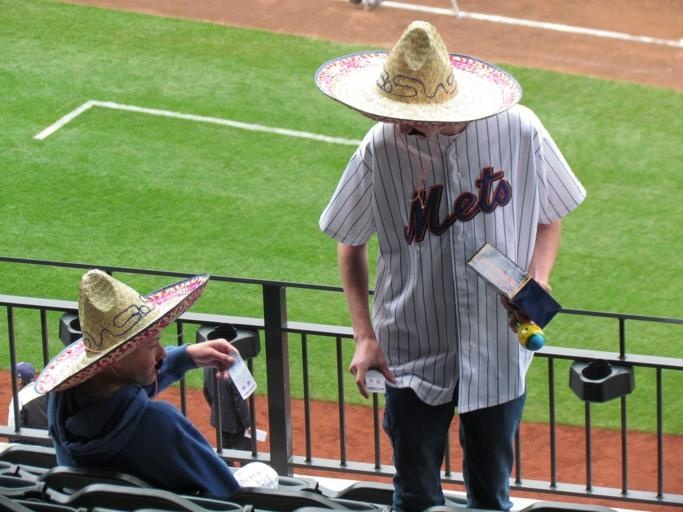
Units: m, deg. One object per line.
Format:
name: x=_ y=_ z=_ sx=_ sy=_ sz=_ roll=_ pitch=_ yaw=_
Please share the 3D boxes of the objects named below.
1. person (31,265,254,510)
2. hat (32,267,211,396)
person: x=-1.763 y=1.264 z=14.571 sx=1.372 sy=1.737 sz=1.135 roll=-28 pitch=43 yaw=-26
hat: x=-2.054 y=0.708 z=14.039 sx=1.326 sy=0.498 sz=1.115 roll=-35 pitch=3 yaw=12
